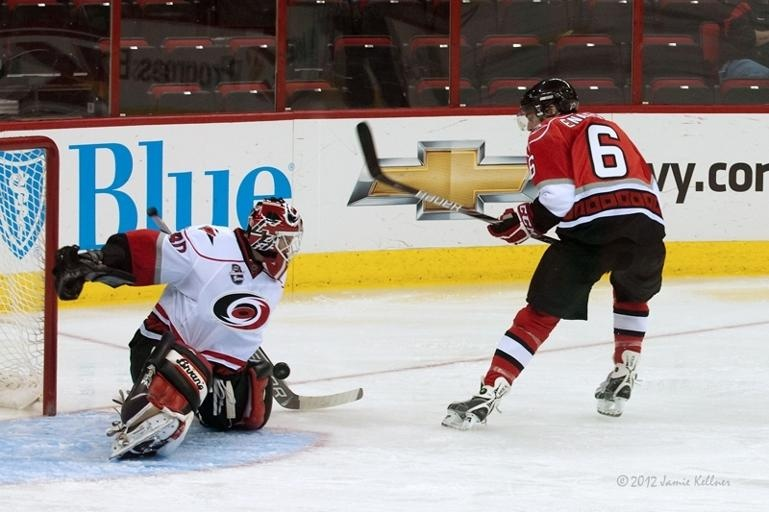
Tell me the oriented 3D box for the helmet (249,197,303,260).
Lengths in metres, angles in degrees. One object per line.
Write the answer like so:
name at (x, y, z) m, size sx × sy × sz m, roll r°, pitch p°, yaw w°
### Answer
helmet at (-0.444, -0.130, 4.459) m, size 0.310 × 0.247 × 0.220 m, roll 4°, pitch 4°, yaw -2°

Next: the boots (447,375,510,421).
boots at (0.429, 0.648, 4.787) m, size 0.169 × 0.123 × 0.315 m, roll 25°, pitch 49°, yaw 28°

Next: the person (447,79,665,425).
person at (0.837, -0.022, 4.911) m, size 0.926 × 1.606 × 0.487 m, roll 3°, pitch 6°, yaw -4°

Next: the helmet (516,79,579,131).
helmet at (0.770, -0.739, 5.092) m, size 0.319 × 0.222 × 0.236 m, roll 10°, pitch 12°, yaw 18°

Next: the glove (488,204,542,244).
glove at (0.604, -0.143, 4.982) m, size 0.276 × 0.135 × 0.109 m, roll -15°, pitch -2°, yaw 22°

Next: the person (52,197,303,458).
person at (-0.857, 0.279, 4.437) m, size 0.885 × 1.073 × 0.451 m, roll -1°, pitch 8°, yaw -38°
